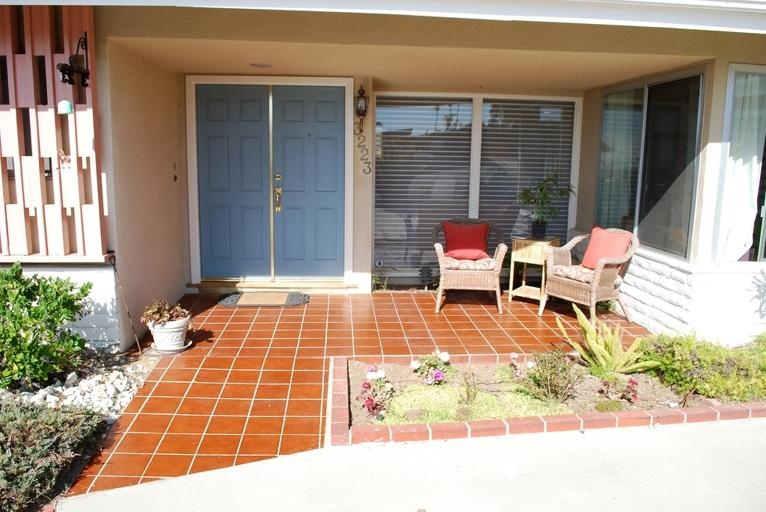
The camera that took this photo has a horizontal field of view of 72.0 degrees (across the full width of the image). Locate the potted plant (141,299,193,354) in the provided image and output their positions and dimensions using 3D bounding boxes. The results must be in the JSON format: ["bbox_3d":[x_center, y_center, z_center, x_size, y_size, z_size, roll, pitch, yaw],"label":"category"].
[{"bbox_3d":[-2.362,0.767,5.767,0.495,0.482,0.496,1,6,43],"label":"potted plant"}]

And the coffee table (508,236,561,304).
[{"bbox_3d":[2.095,0.193,7.602,0.598,0.830,0.590,-2,4,2],"label":"coffee table"}]

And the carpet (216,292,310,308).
[{"bbox_3d":[-1.655,0.600,7.415,1.228,0.057,0.525,0,14,-1],"label":"carpet"}]

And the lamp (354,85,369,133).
[{"bbox_3d":[-0.294,-2.083,7.430,0.203,0.665,0.095,-2,14,-5],"label":"lamp"}]

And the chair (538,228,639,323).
[{"bbox_3d":[2.662,0.194,6.803,1.139,1.064,1.132,6,13,24],"label":"chair"}]

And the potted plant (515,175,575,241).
[{"bbox_3d":[2.492,-0.820,8.212,0.825,0.996,0.822,4,13,-13],"label":"potted plant"}]

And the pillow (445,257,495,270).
[{"bbox_3d":[1.178,0.091,7.073,0.673,0.126,0.230,2,14,7],"label":"pillow"}]

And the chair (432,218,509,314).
[{"bbox_3d":[1.248,0.039,7.510,1.111,1.121,1.338,2,4,15],"label":"chair"}]
